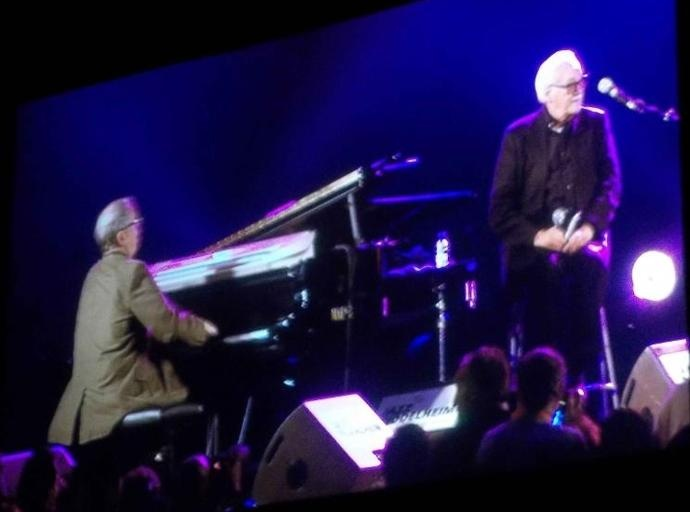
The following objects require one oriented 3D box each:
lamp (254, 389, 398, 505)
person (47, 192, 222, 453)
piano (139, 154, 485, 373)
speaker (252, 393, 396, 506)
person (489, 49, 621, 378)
[{"bbox_3d":[-0.057,1.049,3.789,0.476,0.677,0.653,12,-6,-42],"label":"lamp"},{"bbox_3d":[-1.298,0.369,4.264,0.895,1.367,0.883,4,5,34],"label":"person"},{"bbox_3d":[-0.232,0.224,3.978,1.355,0.437,1.035,-20,-6,14],"label":"piano"},{"bbox_3d":[-0.110,1.026,3.779,0.652,0.683,0.478,2,-4,-32],"label":"speaker"},{"bbox_3d":[1.145,-0.062,3.781,0.583,1.982,0.548,-1,14,22],"label":"person"}]
